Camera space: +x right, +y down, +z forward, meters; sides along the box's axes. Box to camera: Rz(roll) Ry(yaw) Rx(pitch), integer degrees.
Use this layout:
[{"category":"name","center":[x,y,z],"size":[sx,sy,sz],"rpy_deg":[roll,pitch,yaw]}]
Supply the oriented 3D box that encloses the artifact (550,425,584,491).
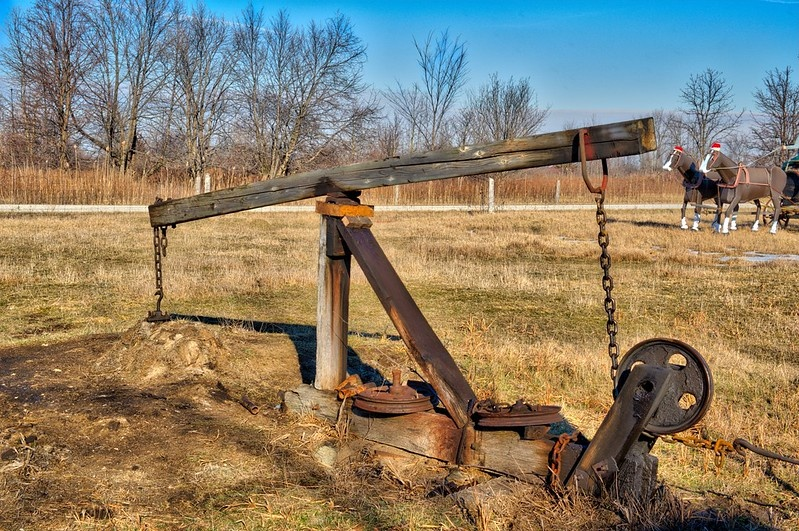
[{"category":"artifact","center":[1.978,2.358,9.688],"size":[0.224,0.667,0.424],"rpy_deg":[3,6,36]}]
